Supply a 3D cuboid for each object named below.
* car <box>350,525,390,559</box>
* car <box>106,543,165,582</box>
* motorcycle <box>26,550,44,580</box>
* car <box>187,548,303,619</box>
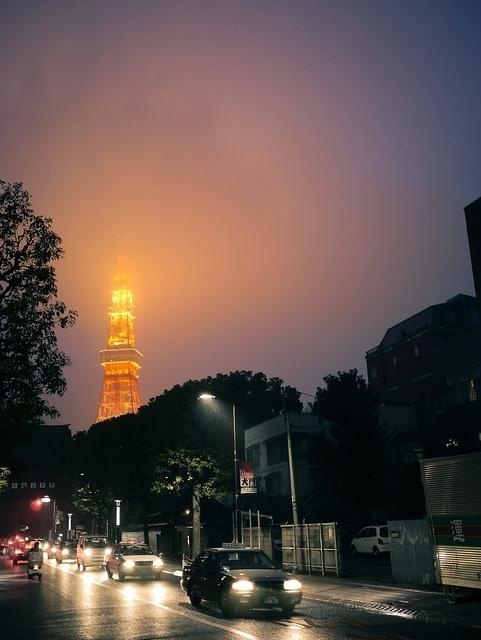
[{"bbox_3d":[6.802,11.409,35.466,0.756,1.447,3.080,2,-19,-11],"label":"car"},{"bbox_3d":[-4.634,10.156,28.795,1.221,1.037,3.026,8,-25,-21],"label":"car"},{"bbox_3d":[-9.206,10.896,30.563,0.606,1.247,1.289,5,-19,-18],"label":"motorcycle"},{"bbox_3d":[-0.144,5.977,15.689,1.225,1.023,3.150,5,-20,-18],"label":"car"}]
